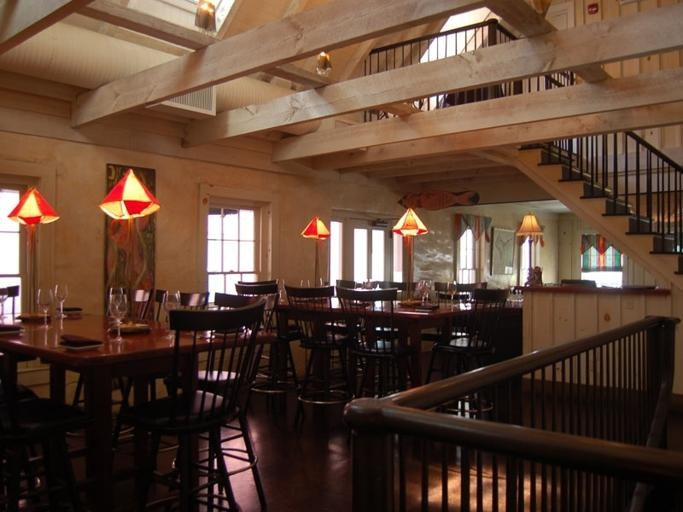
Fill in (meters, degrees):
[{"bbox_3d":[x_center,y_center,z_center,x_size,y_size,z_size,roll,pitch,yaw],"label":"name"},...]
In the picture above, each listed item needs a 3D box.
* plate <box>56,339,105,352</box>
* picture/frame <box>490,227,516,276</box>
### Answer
[{"bbox_3d":[-1.492,0.506,3.333,0.236,0.054,0.136,1,-3,-10],"label":"plate"},{"bbox_3d":[3.397,-0.096,12.402,0.096,1.049,1.015,-3,-4,33],"label":"picture/frame"}]
